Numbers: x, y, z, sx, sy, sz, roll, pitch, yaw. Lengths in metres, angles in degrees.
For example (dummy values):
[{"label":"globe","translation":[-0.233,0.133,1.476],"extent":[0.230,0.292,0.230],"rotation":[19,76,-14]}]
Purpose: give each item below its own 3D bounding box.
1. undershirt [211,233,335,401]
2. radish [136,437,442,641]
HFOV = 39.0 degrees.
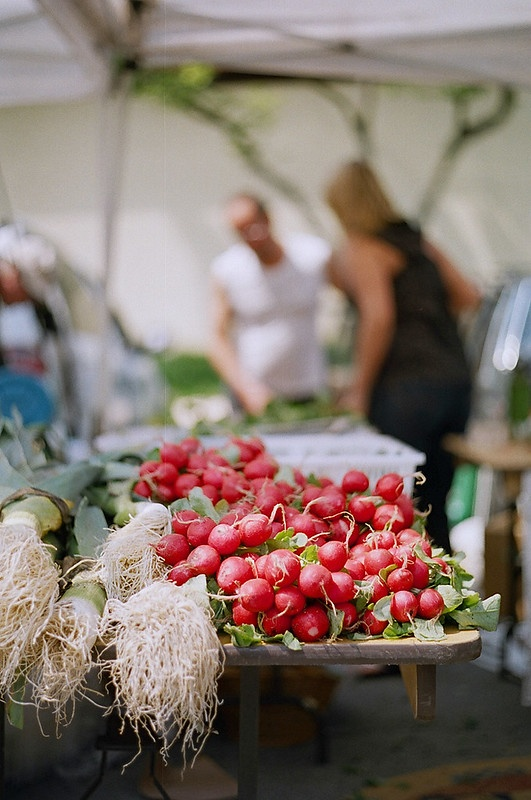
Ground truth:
[{"label":"undershirt","translation":[0.010,-0.263,2.251],"extent":[0.380,0.480,0.177],"rotation":[-16,52,-1]},{"label":"radish","translation":[0.031,0.237,1.360],"extent":[0.374,0.115,0.364],"rotation":[3,25,-27]}]
